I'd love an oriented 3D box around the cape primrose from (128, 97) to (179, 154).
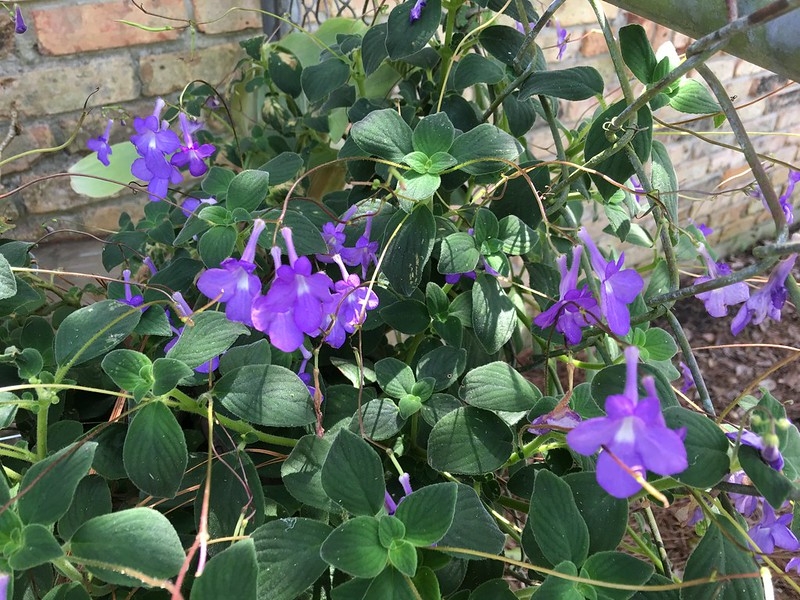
[{"bbox_3d":[-0.485,-0.318,1.534,0.092,0.127,0.033,20,-8,-14],"label":"cape primrose"}]
